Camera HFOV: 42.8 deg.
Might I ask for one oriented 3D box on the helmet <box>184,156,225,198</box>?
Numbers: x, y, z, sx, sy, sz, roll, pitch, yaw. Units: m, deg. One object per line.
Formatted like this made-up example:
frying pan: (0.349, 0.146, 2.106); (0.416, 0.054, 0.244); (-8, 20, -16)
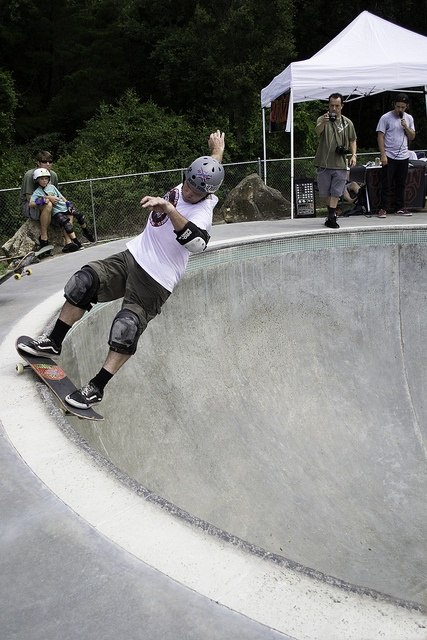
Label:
helmet: (-0.041, -0.747, 2.804); (0.163, 0.208, 0.167); (9, -39, -28)

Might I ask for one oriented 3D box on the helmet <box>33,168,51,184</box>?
helmet: (-2.209, -1.882, 7.007); (0.165, 0.151, 0.204); (-15, -18, -29)

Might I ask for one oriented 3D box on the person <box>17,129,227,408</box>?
person: (-0.439, -0.219, 2.943); (1.024, 1.272, 0.560); (-5, 12, -19)

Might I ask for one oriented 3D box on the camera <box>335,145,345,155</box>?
camera: (1.767, -2.320, 7.482); (0.136, 0.141, 0.095); (16, -7, -31)

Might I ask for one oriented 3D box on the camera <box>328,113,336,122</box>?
camera: (1.680, -2.826, 7.622); (0.099, 0.128, 0.062); (1, 11, 6)

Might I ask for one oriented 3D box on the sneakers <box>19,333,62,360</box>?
sneakers: (-0.965, 0.152, 3.095); (0.270, 0.124, 0.098); (19, 19, -43)

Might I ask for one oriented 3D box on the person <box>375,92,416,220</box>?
person: (2.951, -2.569, 8.783); (0.540, 1.815, 0.991); (4, 12, 21)

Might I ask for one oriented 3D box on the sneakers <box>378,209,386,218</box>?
sneakers: (2.842, -1.772, 9.136); (0.080, 0.092, 0.213); (0, 8, 7)

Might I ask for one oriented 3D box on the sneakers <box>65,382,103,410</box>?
sneakers: (-0.654, 0.389, 2.791); (0.085, 0.083, 0.196); (37, 9, 14)

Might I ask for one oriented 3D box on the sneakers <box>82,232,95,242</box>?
sneakers: (-2.062, -1.388, 9.001); (0.205, 0.089, 0.088); (40, -4, 20)

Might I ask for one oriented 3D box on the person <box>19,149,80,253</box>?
person: (-2.230, -1.602, 7.320); (0.761, 1.277, 0.512); (8, 8, 36)

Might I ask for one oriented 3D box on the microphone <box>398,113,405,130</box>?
microphone: (2.922, -3.069, 8.429); (0.077, 0.265, 0.305); (3, 12, 18)

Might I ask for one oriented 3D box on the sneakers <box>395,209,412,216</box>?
sneakers: (3.213, -1.815, 9.188); (0.300, 0.137, 0.101); (8, 13, 33)

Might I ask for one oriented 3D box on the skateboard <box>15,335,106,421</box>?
skateboard: (-0.860, 0.306, 2.936); (0.263, 0.349, 0.685); (-9, 14, -34)

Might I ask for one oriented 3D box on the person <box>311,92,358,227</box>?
person: (1.750, -2.279, 7.831); (0.531, 1.912, 0.637); (4, 12, 20)

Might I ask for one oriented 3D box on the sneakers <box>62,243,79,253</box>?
sneakers: (-2.015, -1.010, 7.714); (0.243, 0.105, 0.098); (-9, 32, 28)
